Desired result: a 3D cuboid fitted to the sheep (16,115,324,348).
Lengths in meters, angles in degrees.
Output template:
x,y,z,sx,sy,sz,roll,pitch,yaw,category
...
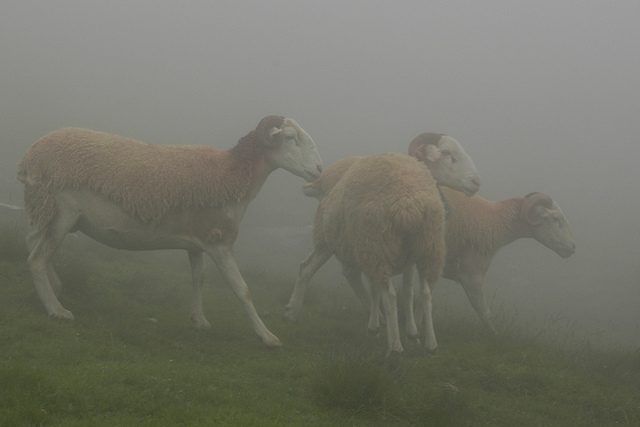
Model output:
x,y,z,sx,sy,sz,roll,pitch,yaw,category
-2.268,0.405,10.141,3.357,2.389,1.170,4,-11,-6,sheep
